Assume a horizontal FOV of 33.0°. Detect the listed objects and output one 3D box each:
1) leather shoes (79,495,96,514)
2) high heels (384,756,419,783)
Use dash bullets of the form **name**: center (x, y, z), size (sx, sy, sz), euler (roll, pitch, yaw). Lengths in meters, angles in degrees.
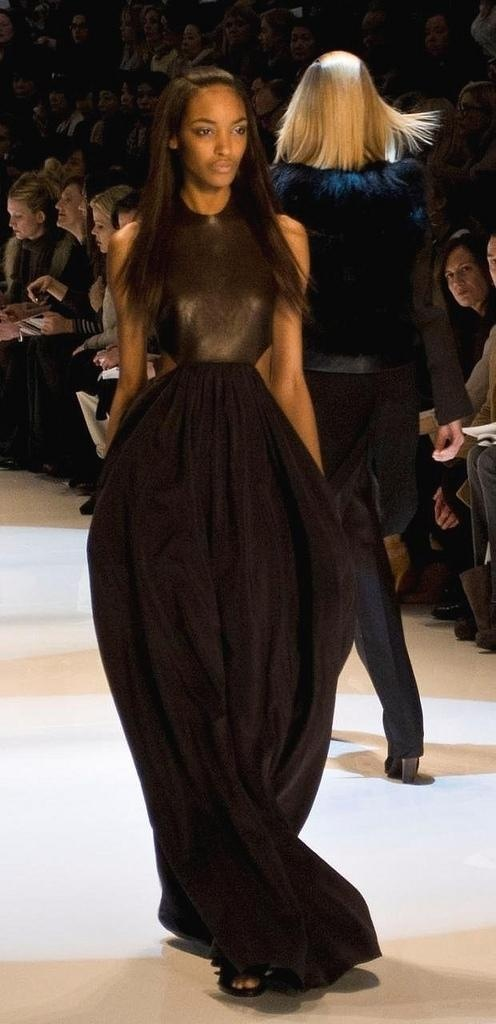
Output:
- **leather shoes**: center (-1.127, -0.053, 5.866), size (0.124, 0.159, 0.043), euler (8, -15, 38)
- **high heels**: center (0.394, 0.656, 2.188), size (0.075, 0.081, 0.073), euler (3, -5, -25)
